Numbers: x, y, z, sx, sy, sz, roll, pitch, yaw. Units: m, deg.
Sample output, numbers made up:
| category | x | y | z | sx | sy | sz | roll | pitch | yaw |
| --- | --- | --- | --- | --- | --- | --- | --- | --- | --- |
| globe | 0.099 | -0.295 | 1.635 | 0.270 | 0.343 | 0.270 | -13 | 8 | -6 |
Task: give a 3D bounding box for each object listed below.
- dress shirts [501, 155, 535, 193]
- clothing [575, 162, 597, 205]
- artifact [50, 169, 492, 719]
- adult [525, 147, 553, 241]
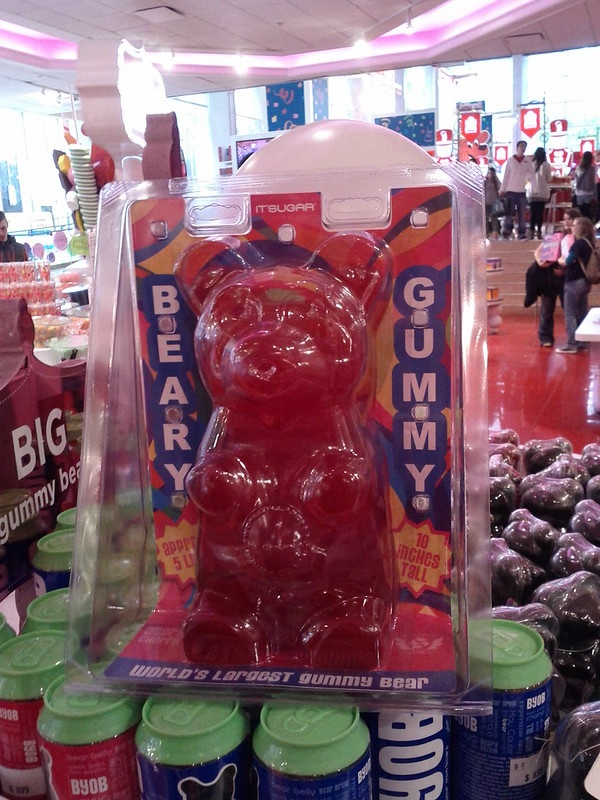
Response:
| category | x | y | z | sx | sy | sz | roll | pitch | yaw |
| --- | --- | --- | --- | --- | --- | --- | --- | --- | --- |
| dress shirts | 3.708 | -3.781 | 9.883 | 0.481 | 0.599 | 0.484 | -2 | 6 | 5 |
| clothing | 4.515 | -3.393 | 9.240 | 0.298 | 0.595 | 0.413 | 0 | 7 | 23 |
| artifact | -0.044 | 0.013 | 0.577 | 0.435 | 0.501 | 0.236 | -1 | 6 | 17 |
| adult | 4.099 | -3.612 | 10.252 | 0.444 | 1.505 | 0.432 | -5 | 20 | 6 |
